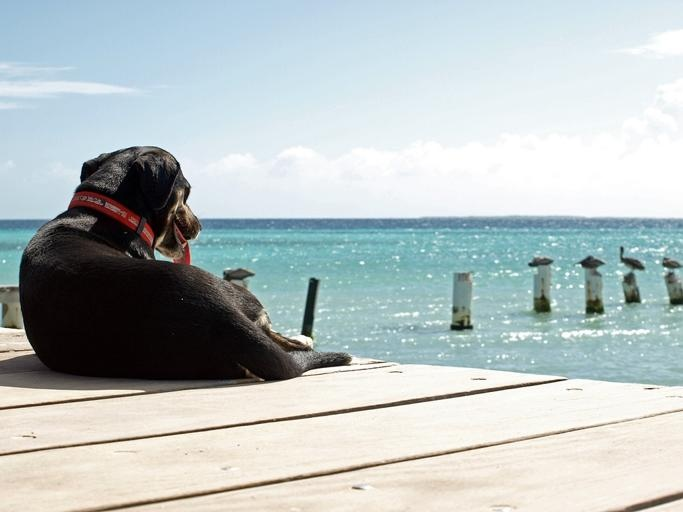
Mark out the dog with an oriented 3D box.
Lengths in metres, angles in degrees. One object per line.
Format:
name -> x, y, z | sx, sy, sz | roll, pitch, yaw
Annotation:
dog -> -1.003, -0.023, 4.063 | 1.363, 1.262, 1.274 | -2, 3, -20
